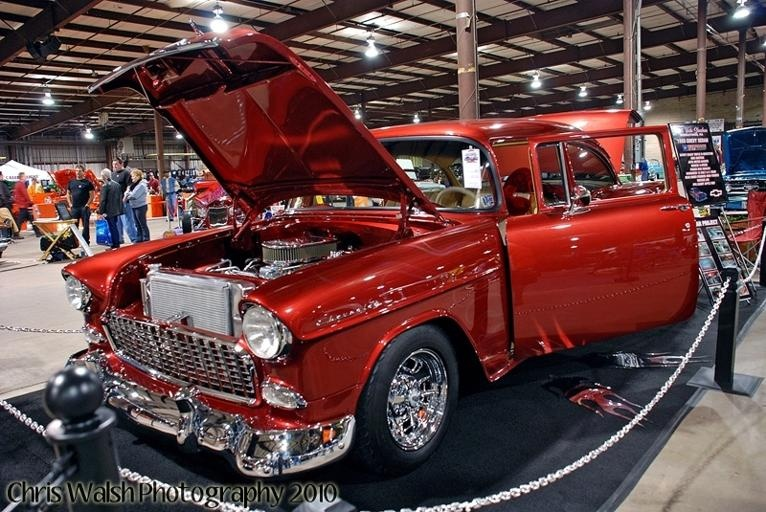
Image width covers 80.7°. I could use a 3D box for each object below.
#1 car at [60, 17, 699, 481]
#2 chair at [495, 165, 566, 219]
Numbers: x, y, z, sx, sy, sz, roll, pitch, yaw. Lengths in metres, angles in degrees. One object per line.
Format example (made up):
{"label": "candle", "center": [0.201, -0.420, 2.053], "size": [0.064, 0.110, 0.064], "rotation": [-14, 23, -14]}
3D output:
{"label": "car", "center": [0.866, -0.203, 3.824], "size": [5.144, 1.705, 2.781], "rotation": [-8, 9, -39]}
{"label": "chair", "center": [1.187, -0.491, 3.437], "size": [0.201, 0.321, 0.533], "rotation": [-4, 5, 38]}
